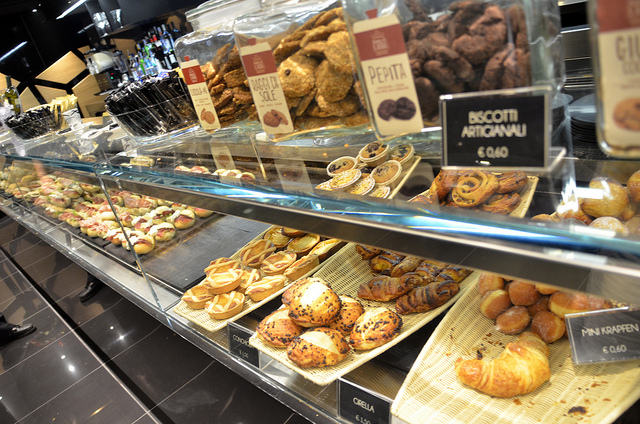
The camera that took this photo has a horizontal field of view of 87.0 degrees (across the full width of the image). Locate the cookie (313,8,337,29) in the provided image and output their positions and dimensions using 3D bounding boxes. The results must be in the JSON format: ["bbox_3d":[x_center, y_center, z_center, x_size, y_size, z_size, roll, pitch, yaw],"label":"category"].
[{"bbox_3d":[0.015,-0.475,0.833,0.039,0.010,0.029,-36,28,29],"label":"cookie"}]

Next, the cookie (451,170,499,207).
[{"bbox_3d":[0.311,-0.038,0.668,0.083,0.029,0.062,-43,62,5],"label":"cookie"}]

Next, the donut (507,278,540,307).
[{"bbox_3d":[0.504,0.202,0.839,0.028,0.068,0.068,-33,35,-20],"label":"donut"}]

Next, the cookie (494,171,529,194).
[{"bbox_3d":[0.357,-0.053,0.624,0.054,0.035,0.024,-2,36,20],"label":"cookie"}]

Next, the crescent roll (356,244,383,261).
[{"bbox_3d":[0.178,0.135,1.193,0.099,0.033,0.129,4,4,30],"label":"crescent roll"}]

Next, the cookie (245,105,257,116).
[{"bbox_3d":[-0.225,-0.328,1.104,0.019,0.036,0.088,-30,33,-17],"label":"cookie"}]

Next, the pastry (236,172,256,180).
[{"bbox_3d":[-0.205,-0.090,0.913,0.035,0.007,0.035,1,4,-39],"label":"pastry"}]

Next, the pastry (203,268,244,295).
[{"bbox_3d":[-0.394,0.272,1.367,0.116,0.032,0.105,-16,13,-4],"label":"pastry"}]

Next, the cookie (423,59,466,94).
[{"bbox_3d":[0.228,-0.247,0.637,0.044,0.086,0.026,-50,-4,15],"label":"cookie"}]

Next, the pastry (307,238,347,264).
[{"bbox_3d":[0.031,0.147,1.255,0.155,0.045,0.090,-30,23,-6],"label":"pastry"}]

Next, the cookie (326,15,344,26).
[{"bbox_3d":[0.034,-0.460,0.813,0.050,0.016,0.029,2,34,24],"label":"cookie"}]

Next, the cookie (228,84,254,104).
[{"bbox_3d":[-0.254,-0.375,1.099,0.090,0.072,0.020,-13,4,18],"label":"cookie"}]

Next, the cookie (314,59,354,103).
[{"bbox_3d":[0.042,-0.318,0.827,0.100,0.094,0.040,17,36,37],"label":"cookie"}]

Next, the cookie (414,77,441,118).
[{"bbox_3d":[0.202,-0.220,0.636,0.065,0.055,0.018,1,15,30],"label":"cookie"}]

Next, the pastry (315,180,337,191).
[{"bbox_3d":[0.019,-0.057,0.769,0.056,0.007,0.030,10,37,34],"label":"pastry"}]

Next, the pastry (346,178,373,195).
[{"bbox_3d":[0.093,-0.056,0.745,0.060,0.012,0.043,-32,35,-30],"label":"pastry"}]

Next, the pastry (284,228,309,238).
[{"bbox_3d":[-0.101,0.087,1.401,0.087,0.025,0.065,20,9,39],"label":"pastry"}]

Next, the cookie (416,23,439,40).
[{"bbox_3d":[0.200,-0.338,0.635,0.041,0.031,0.010,5,-3,-1],"label":"cookie"}]

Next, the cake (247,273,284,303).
[{"bbox_3d":[-0.211,0.279,1.296,0.122,0.037,0.114,-17,-1,0],"label":"cake"}]

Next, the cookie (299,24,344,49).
[{"bbox_3d":[-0.003,-0.415,0.830,0.077,0.021,0.069,-10,14,3],"label":"cookie"}]

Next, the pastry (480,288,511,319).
[{"bbox_3d":[0.457,0.237,0.887,0.088,0.074,0.041,22,30,9],"label":"pastry"}]

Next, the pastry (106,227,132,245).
[{"bbox_3d":[-1.109,0.131,1.854,0.124,0.035,0.114,-9,19,7],"label":"pastry"}]

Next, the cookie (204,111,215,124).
[{"bbox_3d":[-0.392,-0.331,1.194,0.054,0.044,0.014,19,49,43],"label":"cookie"}]

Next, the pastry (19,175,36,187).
[{"bbox_3d":[-2.294,-0.246,2.635,0.099,0.057,0.112,-18,5,-20],"label":"pastry"}]

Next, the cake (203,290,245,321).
[{"bbox_3d":[-0.370,0.358,1.312,0.136,0.038,0.125,-1,21,15],"label":"cake"}]

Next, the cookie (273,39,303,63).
[{"bbox_3d":[-0.087,-0.408,0.863,0.077,0.017,0.041,-25,26,16],"label":"cookie"}]

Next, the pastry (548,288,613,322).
[{"bbox_3d":[0.576,0.203,0.727,0.125,0.051,0.115,-4,2,24],"label":"pastry"}]

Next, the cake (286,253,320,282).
[{"bbox_3d":[-0.061,0.203,1.318,0.128,0.084,0.122,-1,34,22],"label":"cake"}]

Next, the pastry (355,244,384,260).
[{"bbox_3d":[0.174,0.139,1.196,0.100,0.030,0.114,-2,-1,-26],"label":"pastry"}]

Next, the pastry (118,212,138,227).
[{"bbox_3d":[-0.942,0.041,1.633,0.074,0.073,0.029,-6,-11,-5],"label":"pastry"}]

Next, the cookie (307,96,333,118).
[{"bbox_3d":[-0.009,-0.267,0.868,0.048,0.050,0.011,-14,9,27],"label":"cookie"}]

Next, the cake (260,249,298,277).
[{"bbox_3d":[-0.181,0.183,1.398,0.160,0.120,0.046,-11,60,-14],"label":"cake"}]
